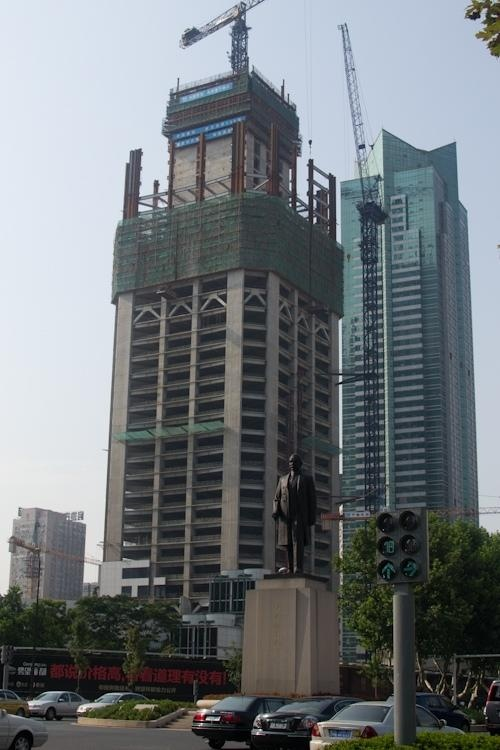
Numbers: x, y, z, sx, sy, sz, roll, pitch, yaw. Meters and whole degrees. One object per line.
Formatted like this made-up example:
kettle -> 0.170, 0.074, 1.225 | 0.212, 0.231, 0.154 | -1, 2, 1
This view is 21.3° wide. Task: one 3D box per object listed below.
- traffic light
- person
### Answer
traffic light -> 2.978, 3.324, 25.856 | 1.040, 1.464, 0.560 | -3, -17, 12
person -> 1.336, 4.138, 39.611 | 1.320, 3.592, 1.001 | -2, -13, 14
